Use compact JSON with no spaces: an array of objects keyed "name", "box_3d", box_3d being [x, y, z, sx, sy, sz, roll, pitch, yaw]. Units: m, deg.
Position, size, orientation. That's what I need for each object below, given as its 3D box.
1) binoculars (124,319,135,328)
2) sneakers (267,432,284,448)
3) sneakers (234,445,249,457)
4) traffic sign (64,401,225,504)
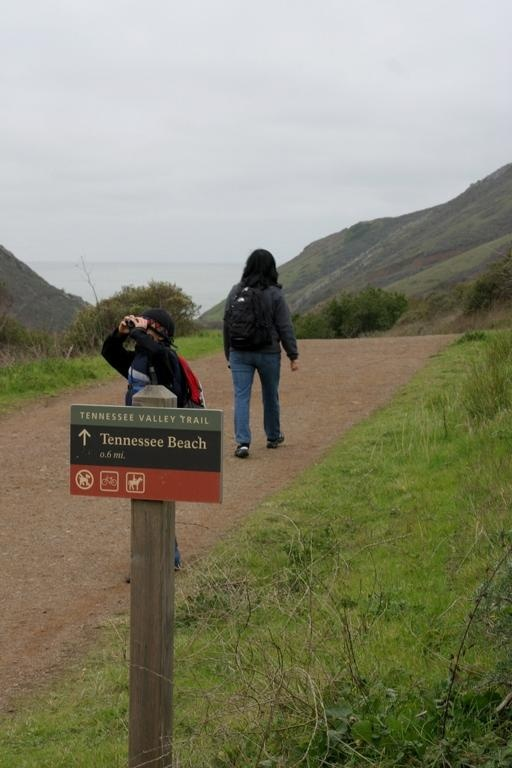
[{"name":"binoculars","box_3d":[-0.656,-0.317,4.346,0.039,0.025,0.056,5,11,-38]},{"name":"sneakers","box_3d":[0.180,0.538,8.075,0.079,0.098,0.215,3,24,22]},{"name":"sneakers","box_3d":[-0.137,0.616,7.723,0.066,0.081,0.166,1,-13,-8]},{"name":"traffic sign","box_3d":[-0.381,0.235,2.871,0.578,0.369,0.065,-8,8,20]}]
